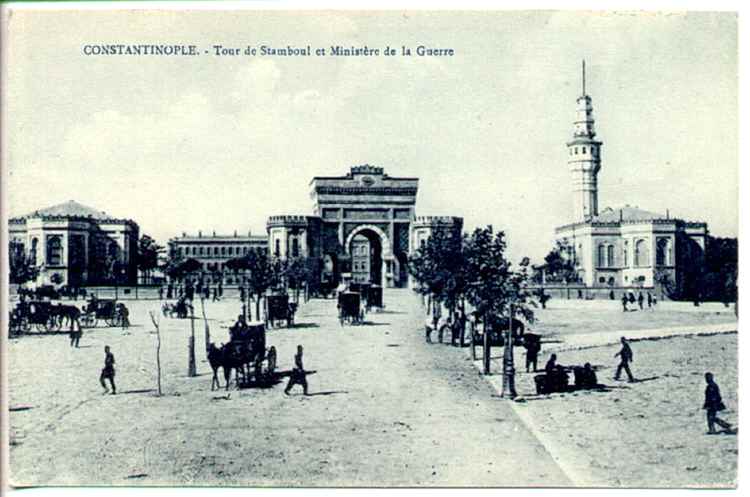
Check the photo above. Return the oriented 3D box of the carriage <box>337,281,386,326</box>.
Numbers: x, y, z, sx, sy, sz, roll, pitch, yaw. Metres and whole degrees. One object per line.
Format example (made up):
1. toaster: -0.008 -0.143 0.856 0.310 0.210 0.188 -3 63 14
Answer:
1. carriage: -0.578 2.322 45.034 1.783 1.595 6.541 -1 -3 1

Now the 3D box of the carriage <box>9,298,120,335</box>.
1. carriage: -10.835 2.334 37.557 2.805 1.308 1.686 -7 0 6

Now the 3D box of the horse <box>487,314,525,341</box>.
1. horse: 4.523 2.737 35.869 1.374 0.604 0.739 0 -1 -3

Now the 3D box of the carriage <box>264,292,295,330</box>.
1. carriage: -3.749 2.435 41.456 1.000 1.045 1.465 -1 -6 -3
